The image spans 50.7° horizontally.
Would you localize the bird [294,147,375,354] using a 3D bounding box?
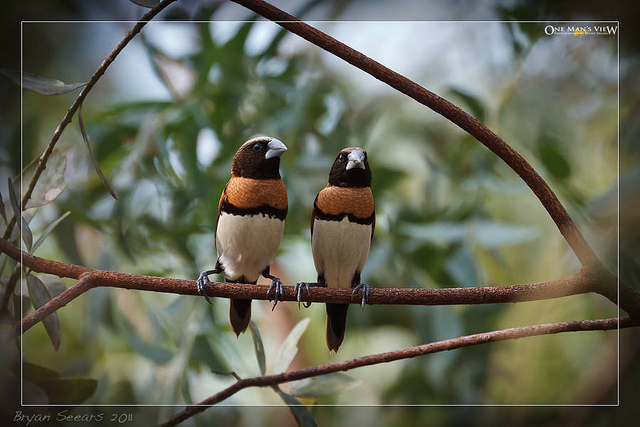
[{"bbox_3d":[0.070,0.170,2.744,0.262,0.560,0.835,3,-36,-2],"label":"bird"}]
